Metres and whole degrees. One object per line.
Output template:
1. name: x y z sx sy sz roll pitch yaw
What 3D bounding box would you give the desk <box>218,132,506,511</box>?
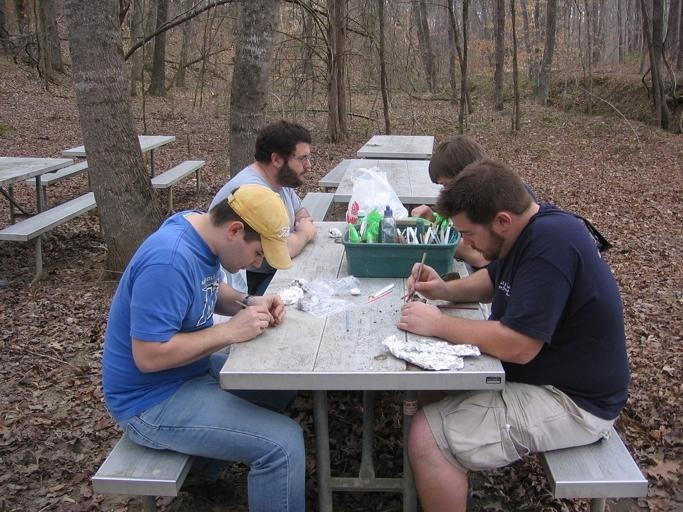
1. desk: 0.111 0.455 3.300 1.147 1.168 2.327 -1 34 2

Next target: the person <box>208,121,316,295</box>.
1. person: -0.571 -0.304 4.342 0.736 1.436 0.689 10 23 1

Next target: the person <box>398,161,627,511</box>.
1. person: 0.889 0.383 2.966 1.143 1.720 0.487 -4 13 -10

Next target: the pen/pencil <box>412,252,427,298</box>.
1. pen/pencil: 0.457 0.117 3.338 0.027 0.273 0.028 10 -18 9

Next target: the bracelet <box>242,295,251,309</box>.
1. bracelet: -0.577 0.269 3.425 0.065 0.070 0.068 6 26 9

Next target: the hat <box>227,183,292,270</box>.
1. hat: -0.438 -0.156 2.973 0.304 0.432 0.195 -3 13 -3
